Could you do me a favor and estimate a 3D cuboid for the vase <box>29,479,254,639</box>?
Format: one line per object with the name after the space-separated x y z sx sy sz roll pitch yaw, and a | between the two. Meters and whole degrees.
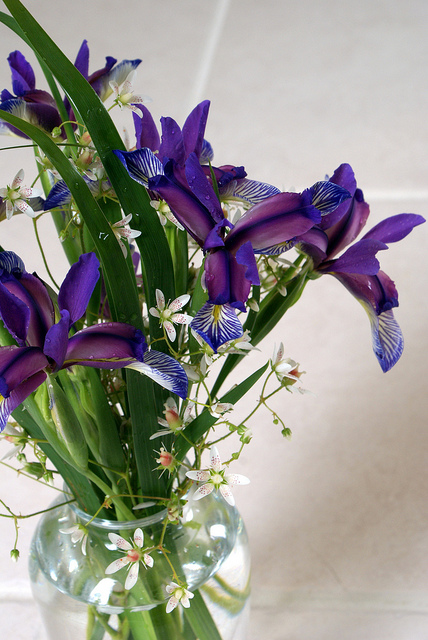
-0.060 0.200 0.489 0.151 0.129 0.213 -9 -40 -5 | vase
